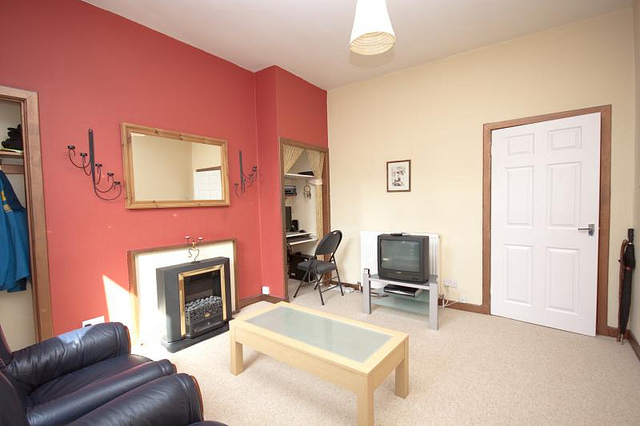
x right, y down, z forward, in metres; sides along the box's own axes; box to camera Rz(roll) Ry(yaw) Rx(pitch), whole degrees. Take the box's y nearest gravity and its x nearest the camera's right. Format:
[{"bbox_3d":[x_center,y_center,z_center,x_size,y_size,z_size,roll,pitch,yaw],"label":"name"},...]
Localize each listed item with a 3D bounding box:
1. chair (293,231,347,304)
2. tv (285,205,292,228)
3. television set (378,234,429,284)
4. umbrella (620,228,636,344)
[{"bbox_3d":[0.083,0.779,6.667,0.692,1.050,1.077,0,2,11],"label":"chair"},{"bbox_3d":[-0.516,0.058,7.057,0.113,0.313,0.363,0,1,8],"label":"tv"},{"bbox_3d":[1.167,0.594,5.923,0.689,0.624,0.378,2,7,36],"label":"television set"},{"bbox_3d":[3.596,0.861,5.008,0.162,1.344,0.126,-3,4,-44],"label":"umbrella"}]
